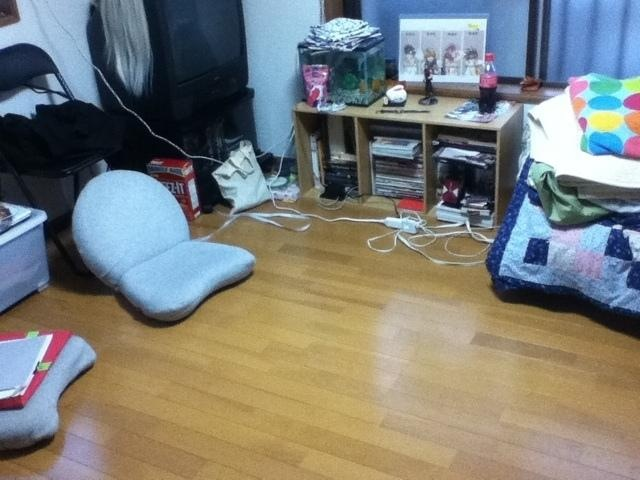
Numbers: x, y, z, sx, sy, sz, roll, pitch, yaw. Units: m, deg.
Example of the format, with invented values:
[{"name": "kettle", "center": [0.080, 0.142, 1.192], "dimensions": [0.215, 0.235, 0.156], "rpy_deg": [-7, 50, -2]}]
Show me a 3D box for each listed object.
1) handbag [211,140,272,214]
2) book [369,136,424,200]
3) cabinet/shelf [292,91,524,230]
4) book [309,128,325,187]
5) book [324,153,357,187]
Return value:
[{"name": "handbag", "center": [-0.551, -0.415, 3.449], "dimensions": [0.392, 0.413, 0.188], "rpy_deg": [-37, 24, -27]}, {"name": "book", "center": [0.489, -0.472, 3.261], "dimensions": [0.322, 0.389, 0.135], "rpy_deg": [2, 14, 12]}, {"name": "cabinet/shelf", "center": [0.541, -0.526, 3.298], "dimensions": [1.340, 0.625, 0.499], "rpy_deg": [12, 25, 27]}, {"name": "book", "center": [-0.020, -0.552, 3.499], "dimensions": [0.070, 0.277, 0.275], "rpy_deg": [2, 23, 11]}, {"name": "book", "center": [0.147, -0.479, 3.453], "dimensions": [0.201, 0.183, 0.114], "rpy_deg": [9, 29, 24]}]
